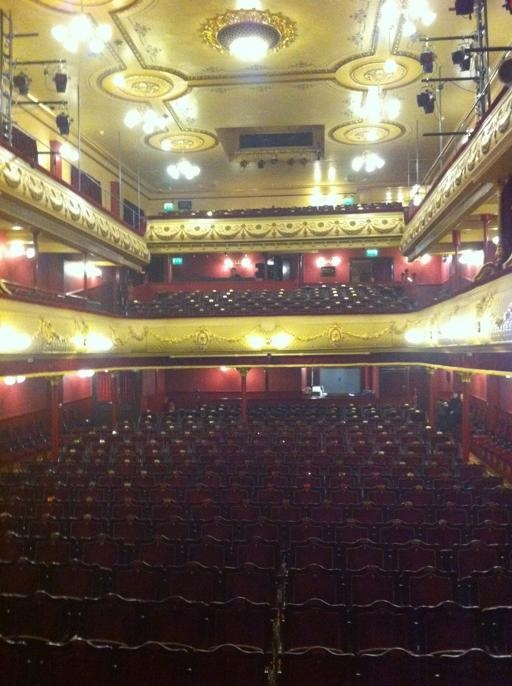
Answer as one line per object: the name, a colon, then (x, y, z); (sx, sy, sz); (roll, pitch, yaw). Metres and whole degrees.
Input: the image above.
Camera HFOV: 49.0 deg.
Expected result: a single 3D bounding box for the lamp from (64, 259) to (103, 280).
lamp: (-5.766, -2.462, 18.553); (1.100, 0.272, 1.119); (0, 0, 1)
